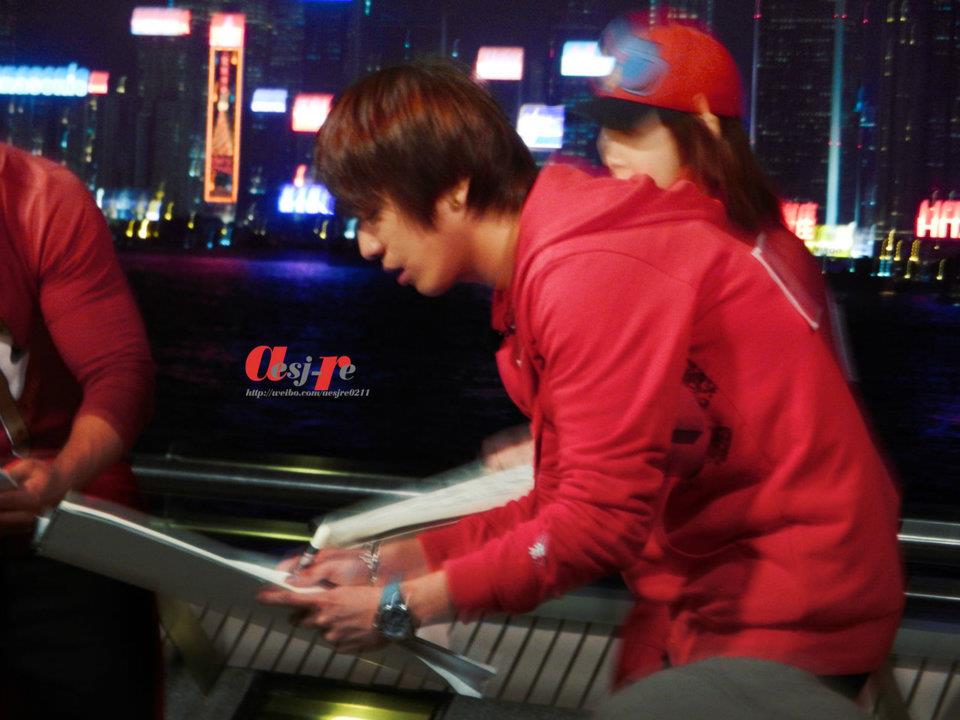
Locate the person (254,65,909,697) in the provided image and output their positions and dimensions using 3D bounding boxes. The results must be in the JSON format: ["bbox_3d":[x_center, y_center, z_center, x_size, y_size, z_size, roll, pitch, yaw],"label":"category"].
[{"bbox_3d":[0.127,0.044,0.905,0.741,0.794,0.306,6,10,22],"label":"person"}]

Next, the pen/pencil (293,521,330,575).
[{"bbox_3d":[-0.234,0.258,1.082,0.021,0.022,0.091,26,51,16],"label":"pen/pencil"}]

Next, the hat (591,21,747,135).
[{"bbox_3d":[0.294,-0.496,1.333,0.310,0.156,0.228,-11,21,-22],"label":"hat"}]
